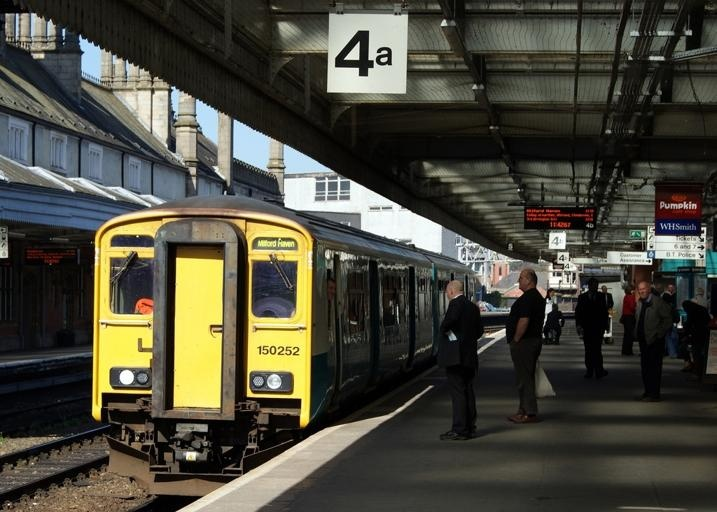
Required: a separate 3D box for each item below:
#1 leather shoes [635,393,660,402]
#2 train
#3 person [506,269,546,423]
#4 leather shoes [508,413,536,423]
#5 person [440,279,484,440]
[{"bbox_3d":[5.408,2.688,15.207,0.382,0.185,0.135,8,-6,3],"label":"leather shoes"},{"bbox_3d":[-0.851,1.492,14.418,2.753,4.482,7.429,-3,-5,25],"label":"train"},{"bbox_3d":[2.599,1.425,12.580,0.578,2.403,0.832,-1,-4,2],"label":"person"},{"bbox_3d":[2.621,2.610,12.979,0.392,0.188,0.163,3,-3,1],"label":"leather shoes"},{"bbox_3d":[1.475,1.496,11.661,0.637,2.286,0.736,-1,-4,7],"label":"person"}]
